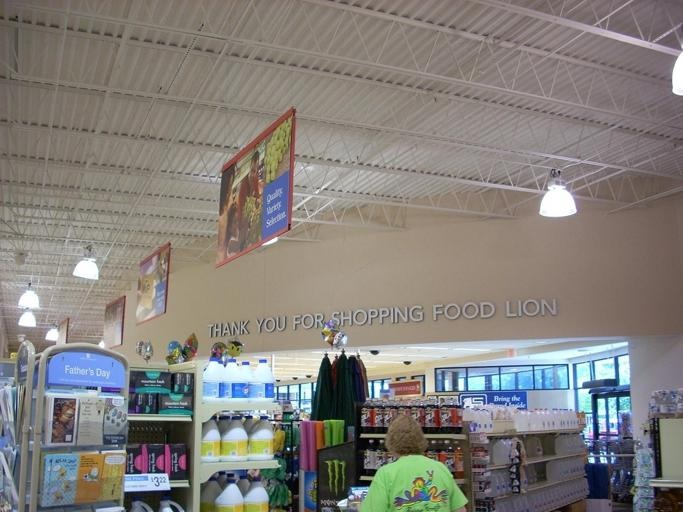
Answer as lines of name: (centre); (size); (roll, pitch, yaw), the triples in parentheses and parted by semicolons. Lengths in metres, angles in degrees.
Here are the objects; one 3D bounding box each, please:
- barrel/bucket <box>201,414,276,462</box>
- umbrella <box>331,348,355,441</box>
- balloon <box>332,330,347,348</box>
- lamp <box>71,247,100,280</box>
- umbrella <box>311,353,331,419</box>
barrel/bucket: (-1.058, 1.751, 5.217); (0.609, 0.425, 0.358); (15, -25, -29)
umbrella: (0.039, 1.902, 7.525); (0.283, 1.146, 0.692); (0, -12, -10)
balloon: (-0.026, 1.238, 8.086); (0.210, 0.246, 0.217); (-8, -12, 34)
lamp: (-7.032, 0.125, 14.810); (0.772, 1.072, 0.616); (11, -19, -22)
umbrella: (-0.275, 1.876, 7.825); (0.300, 0.914, 0.457); (8, -16, -39)
